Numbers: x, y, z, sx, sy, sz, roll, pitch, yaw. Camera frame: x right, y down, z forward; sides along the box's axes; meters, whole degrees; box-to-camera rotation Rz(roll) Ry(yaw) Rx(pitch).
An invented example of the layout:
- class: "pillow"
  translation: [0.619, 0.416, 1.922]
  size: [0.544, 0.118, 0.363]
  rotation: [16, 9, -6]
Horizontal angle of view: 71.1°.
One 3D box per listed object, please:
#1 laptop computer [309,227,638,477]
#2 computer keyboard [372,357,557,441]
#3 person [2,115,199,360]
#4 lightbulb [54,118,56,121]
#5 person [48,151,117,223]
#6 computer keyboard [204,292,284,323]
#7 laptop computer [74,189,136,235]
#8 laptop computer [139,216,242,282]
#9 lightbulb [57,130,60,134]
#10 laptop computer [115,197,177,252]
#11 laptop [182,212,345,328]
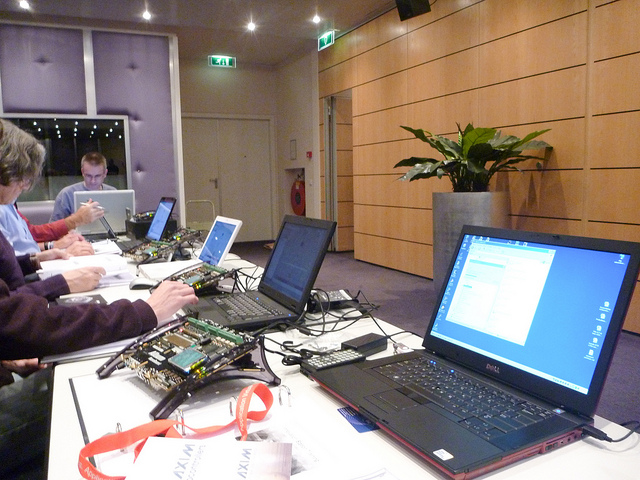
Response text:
- class: "laptop computer"
  translation: [0.457, 0.255, 1.181]
  size: [0.456, 0.582, 0.635]
  rotation: [31, -5, -28]
- class: "computer keyboard"
  translation: [0.349, 0.383, 1.151]
  size: [0.205, 0.035, 0.410]
  rotation: [-5, 15, -34]
- class: "person"
  translation: [-1.587, -0.184, 3.112]
  size: [1.188, 1.339, 2.037]
  rotation: [-1, 11, -28]
- class: "lightbulb"
  translation: [-3.418, -1.550, 5.755]
  size: [0.020, 0.018, 0.036]
  rotation: [-2, 3, -18]
- class: "person"
  translation: [-2.526, -0.558, 4.655]
  size: [0.961, 0.768, 0.508]
  rotation: [-2, 15, -33]
- class: "computer keyboard"
  translation: [-0.318, 0.270, 1.815]
  size: [0.212, 0.042, 0.363]
  rotation: [-3, 14, -29]
- class: "laptop computer"
  translation: [-1.887, -0.293, 3.940]
  size: [0.555, 0.379, 0.413]
  rotation: [-1, 14, -25]
- class: "laptop computer"
  translation: [-0.749, 0.034, 2.552]
  size: [0.517, 0.292, 0.362]
  rotation: [-6, 11, -34]
- class: "lightbulb"
  translation: [-3.395, -1.407, 5.800]
  size: [0.028, 0.041, 0.021]
  rotation: [-2, -5, 16]
- class: "laptop computer"
  translation: [-1.342, -0.146, 3.558]
  size: [0.503, 0.350, 0.494]
  rotation: [-2, 10, -27]
- class: "laptop"
  translation: [-0.197, 0.135, 1.825]
  size: [0.303, 0.487, 0.467]
  rotation: [28, -7, -33]
